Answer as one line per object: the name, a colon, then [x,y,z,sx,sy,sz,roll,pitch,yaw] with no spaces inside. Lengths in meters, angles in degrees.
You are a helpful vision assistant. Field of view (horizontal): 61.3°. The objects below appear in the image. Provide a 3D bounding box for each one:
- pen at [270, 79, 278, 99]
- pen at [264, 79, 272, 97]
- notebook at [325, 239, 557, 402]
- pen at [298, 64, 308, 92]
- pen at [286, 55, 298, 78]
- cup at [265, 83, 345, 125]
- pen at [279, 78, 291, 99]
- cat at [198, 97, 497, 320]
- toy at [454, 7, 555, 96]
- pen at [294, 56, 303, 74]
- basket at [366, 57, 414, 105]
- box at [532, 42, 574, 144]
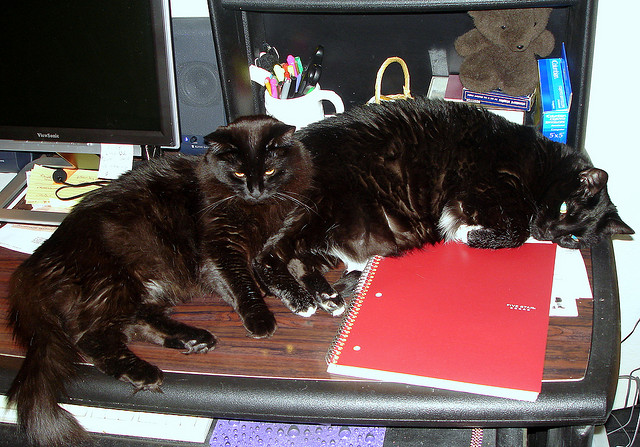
pen: [-0.146,-0.431,1.720,0.023,0.061,0.021,4,55,8]
pen: [-0.160,-0.430,1.715,0.012,0.050,0.013,-36,36,-29]
notebook: [0.306,0.215,1.389,0.528,0.070,0.510,-5,32,23]
pen: [-0.055,-0.461,1.729,0.013,0.099,0.011,14,14,-37]
pen: [-0.086,-0.505,1.732,0.021,0.077,0.013,-14,-4,-7]
cup: [-0.052,-0.377,1.802,0.221,0.150,0.141,4,32,-1]
pen: [-0.111,-0.432,1.729,0.039,0.064,0.024,-3,15,-5]
cat: [0.095,-0.129,1.605,0.591,0.287,0.769,-31,37,-32]
toy: [0.568,-0.522,1.660,0.293,0.250,0.094,3,16,16]
pen: [-0.065,-0.511,1.739,0.017,0.059,0.010,-21,8,-26]
basket: [0.235,-0.450,1.717,0.149,0.162,0.144,-17,32,-17]
box: [0.716,-0.390,1.655,0.109,0.283,0.134,4,16,21]
